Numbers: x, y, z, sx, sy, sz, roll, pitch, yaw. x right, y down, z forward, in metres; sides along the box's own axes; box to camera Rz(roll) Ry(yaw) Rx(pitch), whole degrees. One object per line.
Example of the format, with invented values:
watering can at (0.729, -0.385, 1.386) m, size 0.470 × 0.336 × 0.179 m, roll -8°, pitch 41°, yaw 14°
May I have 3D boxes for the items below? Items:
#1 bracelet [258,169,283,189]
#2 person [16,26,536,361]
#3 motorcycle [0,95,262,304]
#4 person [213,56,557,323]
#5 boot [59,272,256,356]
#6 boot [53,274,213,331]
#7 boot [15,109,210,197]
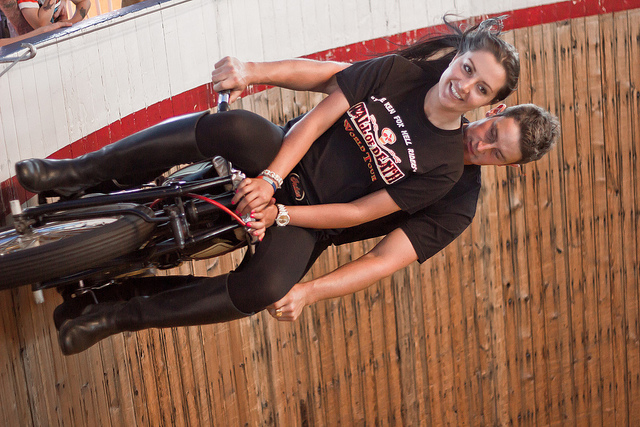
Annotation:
bracelet at (-0.218, -0.160, 3.046) m, size 0.029 × 0.077 × 0.071 m, roll -55°, pitch 5°, yaw -34°
person at (-0.074, -0.152, 3.270) m, size 2.415 × 1.076 × 0.839 m, roll -22°, pitch -15°, yaw -7°
motorcycle at (-0.842, -0.122, 3.287) m, size 1.172 × 0.831 × 0.756 m, roll -11°, pitch 1°, yaw -22°
person at (0.288, -0.146, 3.523) m, size 1.382 × 1.118 × 0.851 m, roll -3°, pitch 16°, yaw 6°
boot at (-0.815, 0.475, 3.297) m, size 0.898 × 0.264 × 0.257 m, roll -19°, pitch -13°, yaw -9°
boot at (-0.888, 0.440, 3.229) m, size 0.710 × 0.235 × 0.162 m, roll -13°, pitch 11°, yaw -16°
boot at (-0.955, -0.210, 3.127) m, size 0.794 × 0.290 × 0.192 m, roll -12°, pitch 27°, yaw -12°
